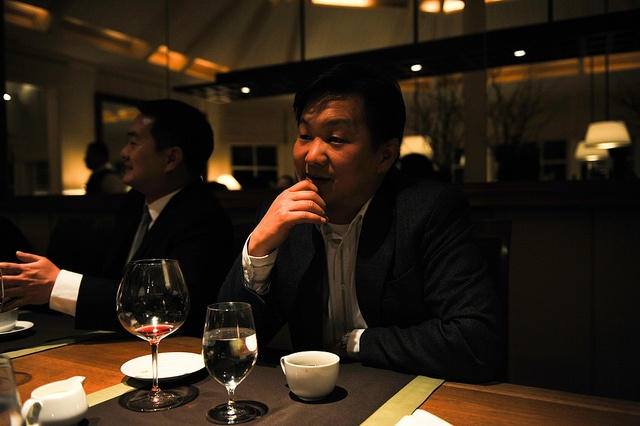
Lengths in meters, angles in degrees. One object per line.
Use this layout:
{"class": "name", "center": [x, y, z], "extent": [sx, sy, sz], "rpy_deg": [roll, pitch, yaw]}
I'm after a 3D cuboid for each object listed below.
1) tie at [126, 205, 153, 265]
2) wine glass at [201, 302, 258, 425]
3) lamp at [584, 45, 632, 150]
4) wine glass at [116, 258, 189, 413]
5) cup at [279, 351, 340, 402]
{"class": "tie", "center": [-0.903, 0.115, 2.681], "extent": [0.046, 0.308, 0.035], "rpy_deg": [14, -13, 26]}
{"class": "wine glass", "center": [-0.284, 0.460, 1.701], "extent": [0.160, 0.353, 0.173], "rpy_deg": [-2, 4, -10]}
{"class": "lamp", "center": [1.364, -0.525, 2.530], "extent": [0.194, 0.452, 0.091], "rpy_deg": [1, 5, 27]}
{"class": "wine glass", "center": [-0.543, 0.389, 1.754], "extent": [0.225, 0.458, 0.172], "rpy_deg": [-2, 4, -15]}
{"class": "cup", "center": [-0.049, 0.537, 1.786], "extent": [0.234, 0.117, 0.183], "rpy_deg": [1, 3, 12]}
